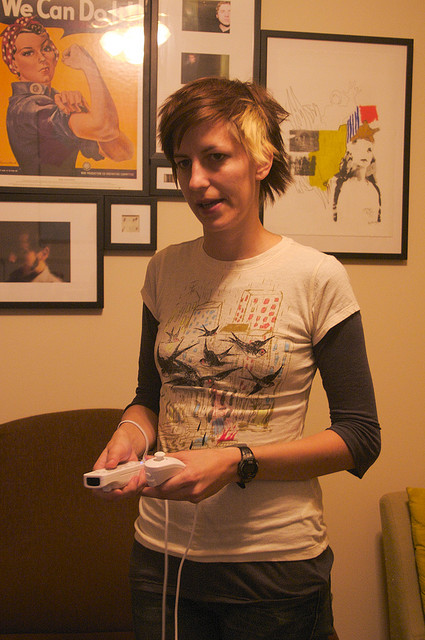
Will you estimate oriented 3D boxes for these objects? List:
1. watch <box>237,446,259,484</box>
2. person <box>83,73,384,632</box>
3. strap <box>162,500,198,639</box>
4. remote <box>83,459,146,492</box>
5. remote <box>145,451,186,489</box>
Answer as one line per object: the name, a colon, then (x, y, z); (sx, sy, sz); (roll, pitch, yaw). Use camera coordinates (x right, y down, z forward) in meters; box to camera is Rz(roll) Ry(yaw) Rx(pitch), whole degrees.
watch: (0.057, 0.234, 0.919); (0.036, 0.055, 0.048); (-1, 6, -14)
person: (0.052, 0.068, 1.036); (0.487, 1.001, 0.437); (1, 8, 3)
strap: (-0.063, 0.448, 1.017); (0.072, 0.250, 0.006); (4, -3, 18)
remote: (-0.151, 0.231, 0.905); (0.049, 0.029, 0.113); (3, 5, 33)
remote: (-0.066, 0.219, 0.865); (0.036, 0.032, 0.064); (9, 22, 35)
